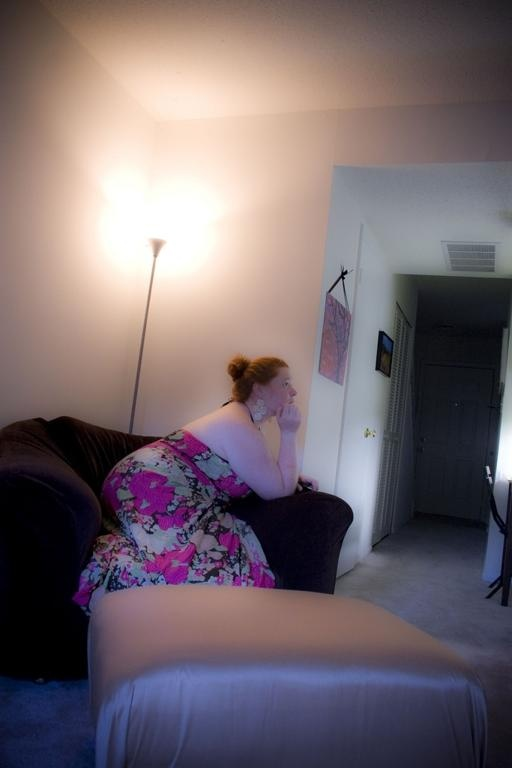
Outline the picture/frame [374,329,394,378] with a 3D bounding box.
[{"bbox_3d":[1.079,-0.237,4.452,0.125,0.334,0.686,6,3,14],"label":"picture/frame"}]
